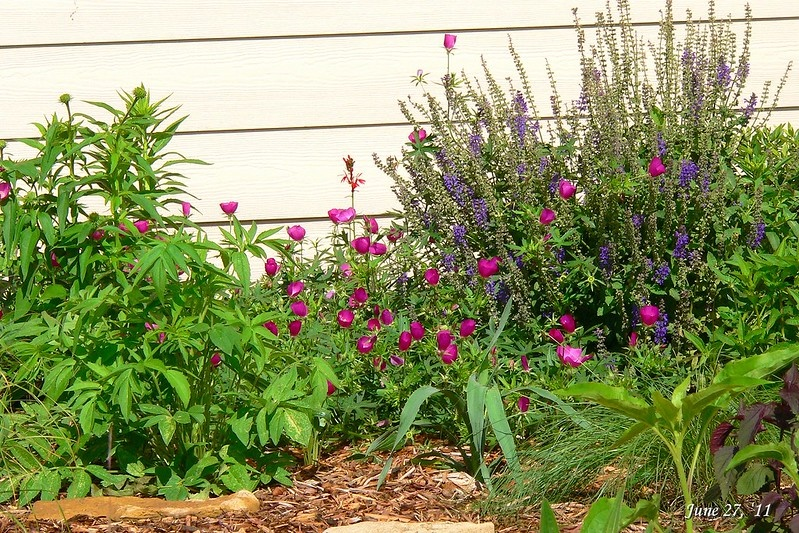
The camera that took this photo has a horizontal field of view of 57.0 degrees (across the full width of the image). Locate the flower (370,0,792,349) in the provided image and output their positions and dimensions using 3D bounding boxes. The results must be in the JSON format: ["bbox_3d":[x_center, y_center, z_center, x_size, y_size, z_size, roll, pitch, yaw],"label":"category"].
[{"bbox_3d":[0.800,-0.448,3.741,1.799,1.519,1.779,-13,21,-21],"label":"flower"}]
